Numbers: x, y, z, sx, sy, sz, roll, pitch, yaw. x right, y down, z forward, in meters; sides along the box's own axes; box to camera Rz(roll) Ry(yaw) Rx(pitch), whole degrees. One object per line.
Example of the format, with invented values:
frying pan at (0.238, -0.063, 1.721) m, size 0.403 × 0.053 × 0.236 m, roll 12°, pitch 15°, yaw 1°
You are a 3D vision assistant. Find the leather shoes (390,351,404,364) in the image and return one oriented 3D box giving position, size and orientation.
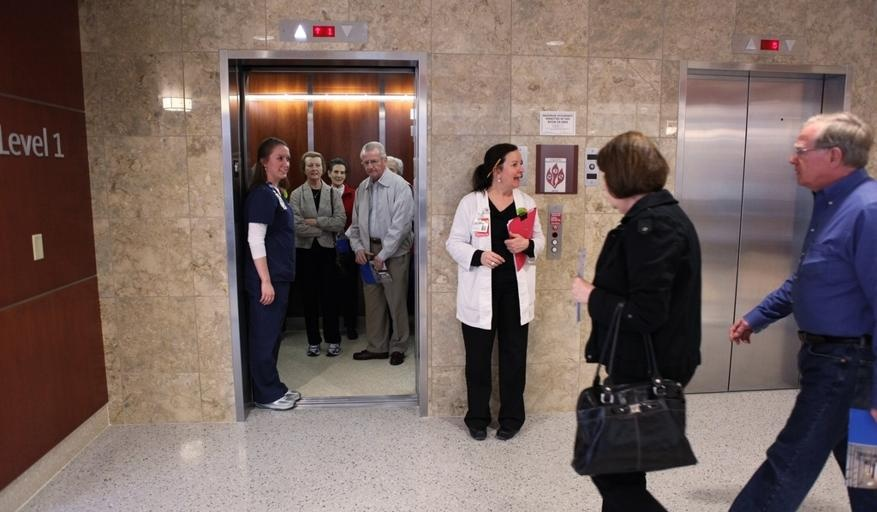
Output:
leather shoes at (-0.440, 1.052, 6.767) m, size 0.120 × 0.091 × 0.224 m, roll 0°, pitch -7°, yaw -2°

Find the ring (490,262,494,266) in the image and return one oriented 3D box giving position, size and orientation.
ring at (0.429, 0.059, 5.280) m, size 0.032 × 0.027 × 0.008 m, roll 8°, pitch -4°, yaw 18°

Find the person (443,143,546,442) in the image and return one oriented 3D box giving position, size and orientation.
person at (0.456, 0.297, 5.460) m, size 0.796 × 2.446 × 0.413 m, roll 2°, pitch 8°, yaw 8°

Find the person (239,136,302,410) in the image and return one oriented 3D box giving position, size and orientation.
person at (-1.488, 0.172, 5.841) m, size 0.421 × 2.410 × 0.473 m, roll 3°, pitch 9°, yaw 16°

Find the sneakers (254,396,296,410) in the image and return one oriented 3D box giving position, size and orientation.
sneakers at (-1.480, 1.326, 5.925) m, size 0.356 × 0.136 × 0.126 m, roll -4°, pitch 10°, yaw -2°

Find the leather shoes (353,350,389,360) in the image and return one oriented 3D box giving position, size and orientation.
leather shoes at (-0.725, 1.051, 6.954) m, size 0.384 × 0.144 × 0.125 m, roll 2°, pitch 1°, yaw -5°

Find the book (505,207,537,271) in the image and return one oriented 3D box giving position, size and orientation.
book at (0.680, -0.161, 5.328) m, size 0.144 × 0.414 × 0.435 m, roll 7°, pitch 2°, yaw 44°

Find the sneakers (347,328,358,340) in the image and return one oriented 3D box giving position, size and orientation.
sneakers at (-0.976, 0.868, 7.412) m, size 0.081 × 0.149 × 0.149 m, roll -4°, pitch 18°, yaw 2°
